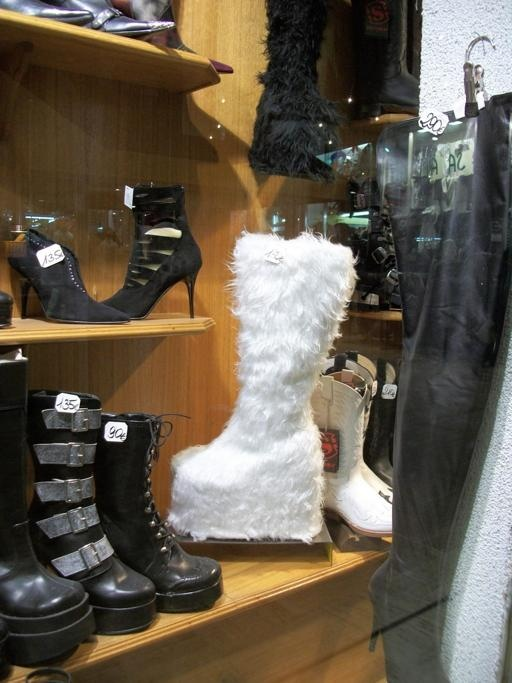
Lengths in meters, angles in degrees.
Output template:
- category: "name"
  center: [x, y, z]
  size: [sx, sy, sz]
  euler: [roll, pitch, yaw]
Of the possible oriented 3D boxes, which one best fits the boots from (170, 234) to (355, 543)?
- category: "boots"
  center: [0.006, 0.091, 1.068]
  size: [0.361, 0.583, 0.200]
  euler: [0, 12, 9]
